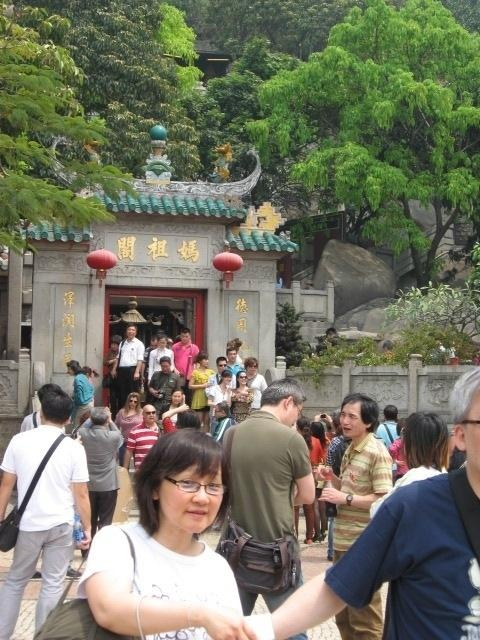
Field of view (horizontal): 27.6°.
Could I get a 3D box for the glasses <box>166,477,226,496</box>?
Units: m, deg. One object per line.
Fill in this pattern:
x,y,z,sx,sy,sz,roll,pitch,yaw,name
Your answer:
-0.145,0.521,3.063,0.177,0.055,0.036,2,-3,-16,glasses

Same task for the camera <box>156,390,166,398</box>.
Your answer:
-0.903,0.822,10.961,0.068,0.069,0.050,-2,-13,1,camera

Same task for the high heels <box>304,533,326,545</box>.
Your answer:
0.695,2.036,9.062,0.236,0.106,0.082,-10,2,-7,high heels

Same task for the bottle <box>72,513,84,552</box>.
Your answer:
-0.907,1.180,5.474,0.056,0.208,0.194,2,-3,-10,bottle
